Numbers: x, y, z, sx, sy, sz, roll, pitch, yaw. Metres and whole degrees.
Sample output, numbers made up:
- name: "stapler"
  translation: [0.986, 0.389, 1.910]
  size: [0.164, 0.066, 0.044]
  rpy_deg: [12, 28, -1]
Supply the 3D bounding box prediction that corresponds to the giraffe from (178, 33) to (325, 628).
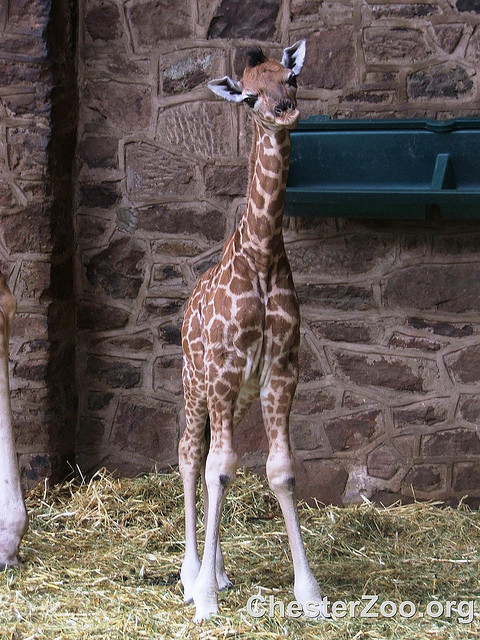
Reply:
- name: "giraffe"
  translation: [0.031, 0.050, 3.120]
  size: [0.421, 1.702, 0.610]
  rpy_deg: [0, 11, -7]
